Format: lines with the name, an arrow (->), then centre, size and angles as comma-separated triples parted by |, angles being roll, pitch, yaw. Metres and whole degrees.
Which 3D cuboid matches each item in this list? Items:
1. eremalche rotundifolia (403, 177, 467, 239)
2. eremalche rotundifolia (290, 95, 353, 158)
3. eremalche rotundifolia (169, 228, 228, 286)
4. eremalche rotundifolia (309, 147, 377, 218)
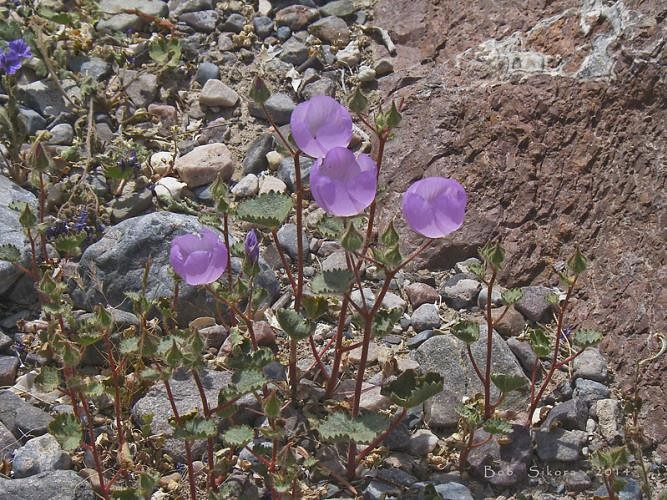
eremalche rotundifolia -> 0.561, -0.238, 5.445 | 0.281, 0.358, 0.227 | 8, -8, -1
eremalche rotundifolia -> -0.070, -0.685, 5.579 | 0.322, 0.341, 0.229 | 16, 32, 10
eremalche rotundifolia -> -0.768, 0.044, 5.665 | 0.267, 0.300, 0.249 | -21, 43, -39
eremalche rotundifolia -> 0.017, -0.348, 5.603 | 0.311, 0.324, 0.415 | 5, 10, 0
